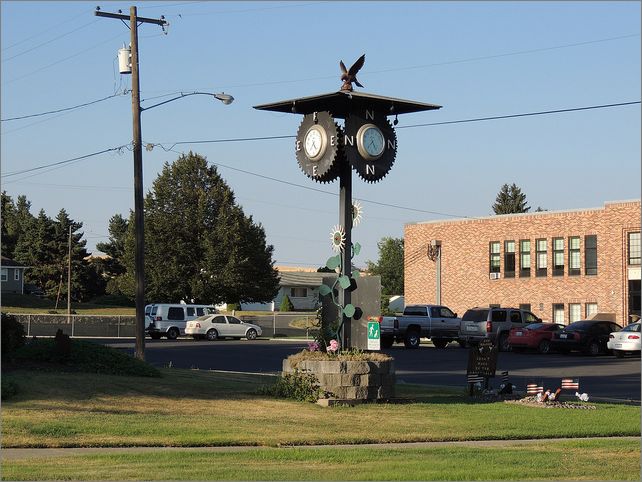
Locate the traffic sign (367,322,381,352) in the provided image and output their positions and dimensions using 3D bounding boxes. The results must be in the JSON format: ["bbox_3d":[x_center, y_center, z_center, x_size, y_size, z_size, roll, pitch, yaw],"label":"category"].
[{"bbox_3d":[1.731,3.136,50.624,0.420,0.977,0.363,2,-7,10],"label":"traffic sign"}]

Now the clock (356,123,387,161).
[{"bbox_3d":[1.641,-3.238,51.133,1.193,1.185,0.174,6,-12,-40],"label":"clock"}]

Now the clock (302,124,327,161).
[{"bbox_3d":[-0.155,-3.254,51.397,1.226,1.232,0.138,-3,-4,44],"label":"clock"}]

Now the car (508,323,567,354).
[{"bbox_3d":[9.678,4.398,69.834,2.369,1.441,1.976,0,-5,-38],"label":"car"}]
